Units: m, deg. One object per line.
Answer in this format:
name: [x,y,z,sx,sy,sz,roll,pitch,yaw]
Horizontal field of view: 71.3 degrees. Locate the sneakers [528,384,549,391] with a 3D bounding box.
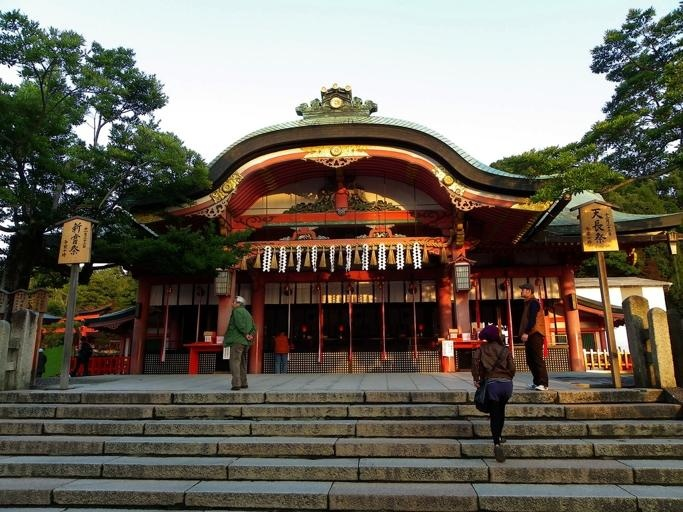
sneakers: [3.539,2.412,8.595,0.343,0.093,0.142,2,8,37]

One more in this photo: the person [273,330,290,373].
person: [-1.809,2.993,14.634,0.429,1.240,0.409,2,-21,-5]

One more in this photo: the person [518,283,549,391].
person: [3.590,1.469,8.901,0.471,2.035,0.922,-9,-22,20]

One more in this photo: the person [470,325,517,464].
person: [2.212,1.804,6.866,0.591,1.625,0.271,-4,-22,11]

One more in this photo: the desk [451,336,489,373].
desk: [3.581,3.099,14.510,1.493,0.783,1.200,4,-12,-6]

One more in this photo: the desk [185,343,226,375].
desk: [-4.119,3.220,14.691,0.940,0.821,1.029,21,-18,-20]
